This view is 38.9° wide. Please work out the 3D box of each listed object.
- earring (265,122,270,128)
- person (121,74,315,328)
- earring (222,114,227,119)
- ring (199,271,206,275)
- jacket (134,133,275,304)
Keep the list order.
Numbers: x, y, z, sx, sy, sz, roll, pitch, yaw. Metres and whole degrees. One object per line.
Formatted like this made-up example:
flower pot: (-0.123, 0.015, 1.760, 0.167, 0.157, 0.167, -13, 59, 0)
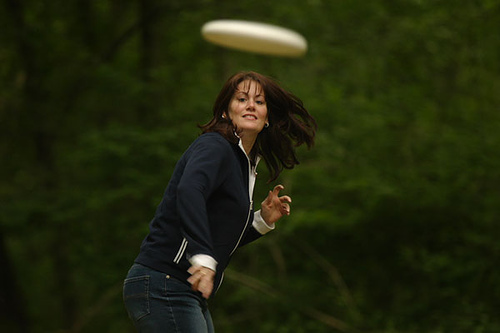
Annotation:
earring: (0.145, -0.345, 5.962, 0.032, 0.036, 0.010, 3, 0, -27)
person: (-0.254, 0.282, 5.738, 0.660, 1.851, 1.098, 16, 4, 36)
earring: (-0.211, -0.407, 5.751, 0.024, 0.027, 0.006, 8, -39, 3)
ring: (-0.356, 0.799, 5.340, 0.048, 0.022, 0.010, 16, 3, -9)
jacket: (-0.280, 0.378, 5.840, 0.881, 1.328, 1.212, 17, -15, 15)
